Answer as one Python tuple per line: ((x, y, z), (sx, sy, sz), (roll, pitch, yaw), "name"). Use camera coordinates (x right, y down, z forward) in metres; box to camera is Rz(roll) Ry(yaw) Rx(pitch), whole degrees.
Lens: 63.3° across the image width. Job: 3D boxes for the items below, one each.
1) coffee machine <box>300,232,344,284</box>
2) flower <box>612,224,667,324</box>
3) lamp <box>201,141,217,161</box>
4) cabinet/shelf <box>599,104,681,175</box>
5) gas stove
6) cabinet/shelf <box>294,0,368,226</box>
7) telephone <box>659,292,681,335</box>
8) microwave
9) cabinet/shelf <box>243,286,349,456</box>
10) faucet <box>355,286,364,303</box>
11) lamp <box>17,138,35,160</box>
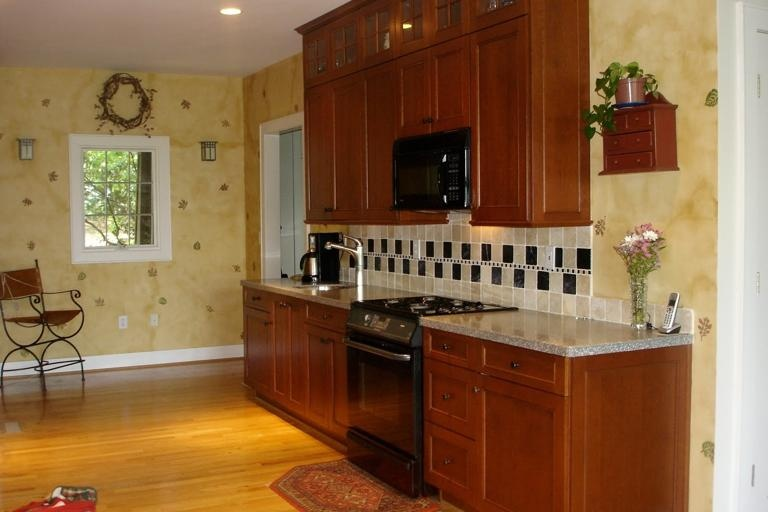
((-0.594, 0.017, 5.930), (0.310, 0.450, 0.396), (0, -2, 37), "coffee machine")
((1.468, 0.103, 3.582), (0.221, 0.584, 0.225), (5, 9, 38), "flower")
((-2.129, -1.283, 7.580), (0.227, 0.299, 0.221), (-1, 1, -18), "lamp")
((1.471, -0.664, 3.588), (0.265, 0.347, 0.381), (-8, 7, -29), "cabinet/shelf")
((0.350, 0.359, 4.368), (0.696, 0.079, 0.994), (-6, 9, -37), "gas stove")
((-0.454, -1.187, 5.313), (0.251, 1.806, 0.915), (-4, 8, -27), "cabinet/shelf")
((1.597, 0.317, 3.470), (0.156, 0.225, 0.156), (1, 1, 44), "telephone")
((0.447, -0.596, 4.423), (0.454, 0.557, 0.856), (-5, 7, -34), "microwave")
((-0.613, 0.875, 5.530), (0.548, 1.121, 1.921), (0, 3, -36), "cabinet/shelf")
((-0.194, 0.305, 5.020), (0.065, 0.107, 0.063), (1, 1, -4), "faucet")
((-3.947, -1.199, 6.872), (0.223, 0.264, 0.221), (0, -1, -36), "lamp")
